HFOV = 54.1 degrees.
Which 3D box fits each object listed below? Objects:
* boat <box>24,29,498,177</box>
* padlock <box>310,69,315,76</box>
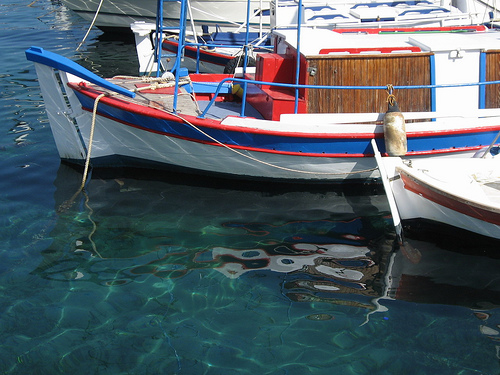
[{"bbox_3d":[0.557,-1.490,8.910,7.615,2.703,1.679,4,18,8],"label":"boat"},{"bbox_3d":[1.036,-1.945,8.215,0.133,0.091,0.056,3,5,0],"label":"padlock"}]
